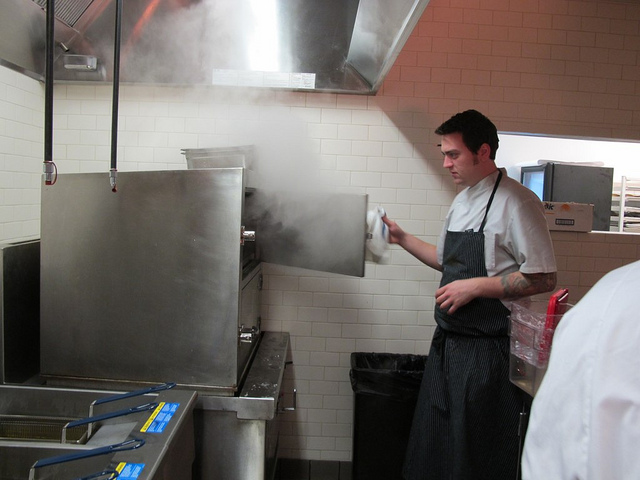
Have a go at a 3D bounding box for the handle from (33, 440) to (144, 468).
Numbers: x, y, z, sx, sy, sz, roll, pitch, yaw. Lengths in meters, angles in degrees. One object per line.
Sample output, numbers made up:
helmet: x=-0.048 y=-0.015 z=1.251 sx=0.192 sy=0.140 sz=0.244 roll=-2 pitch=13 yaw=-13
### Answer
handle: x=-0.774 y=0.728 z=1.817 sx=0.334 sy=0.063 sz=0.127 roll=4 pitch=2 yaw=-19

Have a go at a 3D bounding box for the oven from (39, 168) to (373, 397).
oven: x=-0.475 y=0.128 z=2.729 sx=1.354 sy=1.021 sz=0.910 roll=1 pitch=5 yaw=3

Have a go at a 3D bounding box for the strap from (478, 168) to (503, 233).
strap: x=0.797 y=-0.180 z=2.499 sx=0.014 sy=0.305 sz=0.095 roll=17 pitch=1 yaw=-38

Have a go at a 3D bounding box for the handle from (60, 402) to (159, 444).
handle: x=-0.773 y=0.695 z=2.001 sx=0.356 sy=0.121 sz=0.071 roll=-13 pitch=-1 yaw=-24

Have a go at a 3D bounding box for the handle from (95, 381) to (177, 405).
handle: x=-0.723 y=0.604 z=2.124 sx=0.306 sy=0.018 sz=0.111 roll=-4 pitch=8 yaw=-16

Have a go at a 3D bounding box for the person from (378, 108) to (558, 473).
person: x=0.760 y=0.289 z=2.515 sx=0.609 sy=1.748 sz=0.357 roll=5 pitch=1 yaw=34

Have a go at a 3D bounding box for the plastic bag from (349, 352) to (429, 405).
plastic bag: x=0.377 y=0.778 z=3.086 sx=0.361 sy=0.177 sz=0.288 roll=2 pitch=0 yaw=8

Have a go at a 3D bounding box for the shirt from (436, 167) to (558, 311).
shirt: x=0.805 y=0.003 z=2.522 sx=0.355 sy=0.724 sz=0.773 roll=1 pitch=1 yaw=-10

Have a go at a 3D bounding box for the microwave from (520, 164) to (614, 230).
microwave: x=1.623 y=-0.323 z=3.664 sx=0.452 sy=0.685 sz=0.694 roll=1 pitch=6 yaw=6
